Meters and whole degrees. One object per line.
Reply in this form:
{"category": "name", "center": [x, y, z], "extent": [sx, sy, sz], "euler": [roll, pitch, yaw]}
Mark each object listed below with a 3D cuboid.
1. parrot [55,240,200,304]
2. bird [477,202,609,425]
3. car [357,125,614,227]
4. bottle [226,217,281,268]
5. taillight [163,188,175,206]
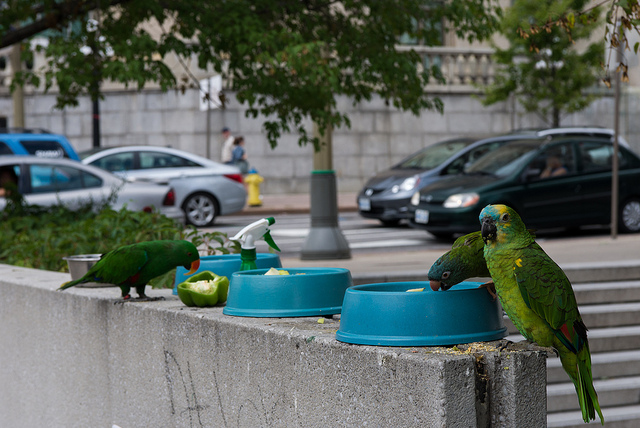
{"category": "parrot", "center": [-1.255, 0.365, 8.641], "extent": [0.629, 0.576, 0.719], "euler": [1, -1, 4]}
{"category": "bird", "center": [1.353, 0.610, 7.628], "extent": [0.723, 1.266, 0.467], "euler": [0, 14, 10]}
{"category": "car", "center": [1.499, -0.397, 10.615], "extent": [2.043, 0.761, 1.124], "euler": [-1, 2, -31]}
{"category": "bottle", "center": [-0.465, 0.200, 8.714], "extent": [0.316, 0.391, 0.405], "euler": [-4, 15, -3]}
{"category": "taillight", "center": [-1.722, -0.174, 14.037], "extent": [0.105, 0.158, 0.132], "euler": [-13, 24, -13]}
